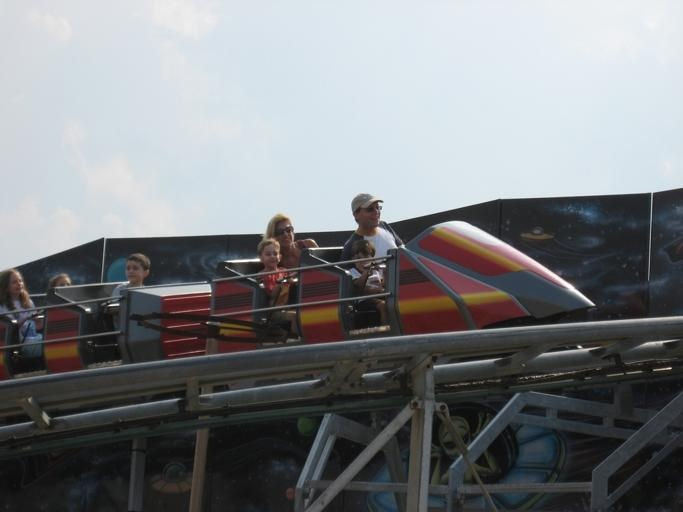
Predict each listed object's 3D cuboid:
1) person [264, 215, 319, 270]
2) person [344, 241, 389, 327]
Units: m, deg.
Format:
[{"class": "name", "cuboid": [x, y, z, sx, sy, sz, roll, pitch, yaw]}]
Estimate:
[{"class": "person", "cuboid": [-0.693, -0.121, 19.168, 0.772, 0.599, 0.753, 1, -74, 28]}, {"class": "person", "cuboid": [0.345, 0.270, 18.814, 0.418, 1.076, 0.763, -6, -57, 0]}]
